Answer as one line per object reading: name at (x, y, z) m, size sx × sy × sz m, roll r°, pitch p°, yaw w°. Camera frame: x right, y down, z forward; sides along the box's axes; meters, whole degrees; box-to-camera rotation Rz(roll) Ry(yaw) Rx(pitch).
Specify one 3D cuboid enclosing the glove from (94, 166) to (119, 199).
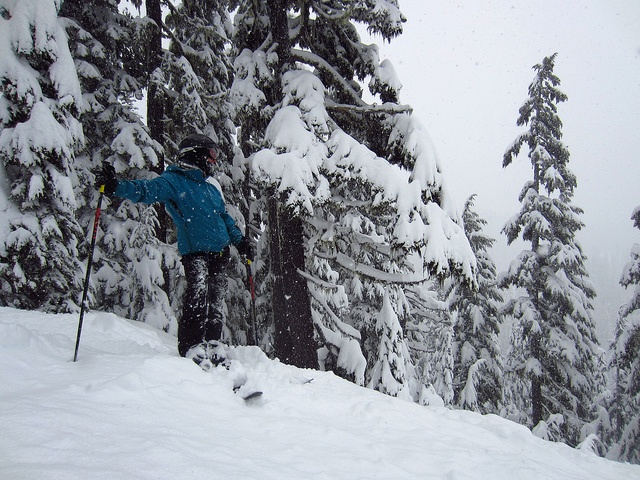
glove at (-3.865, -1.103, 10.808) m, size 0.409 × 0.454 × 0.222 m, roll 15°, pitch -9°, yaw -26°
